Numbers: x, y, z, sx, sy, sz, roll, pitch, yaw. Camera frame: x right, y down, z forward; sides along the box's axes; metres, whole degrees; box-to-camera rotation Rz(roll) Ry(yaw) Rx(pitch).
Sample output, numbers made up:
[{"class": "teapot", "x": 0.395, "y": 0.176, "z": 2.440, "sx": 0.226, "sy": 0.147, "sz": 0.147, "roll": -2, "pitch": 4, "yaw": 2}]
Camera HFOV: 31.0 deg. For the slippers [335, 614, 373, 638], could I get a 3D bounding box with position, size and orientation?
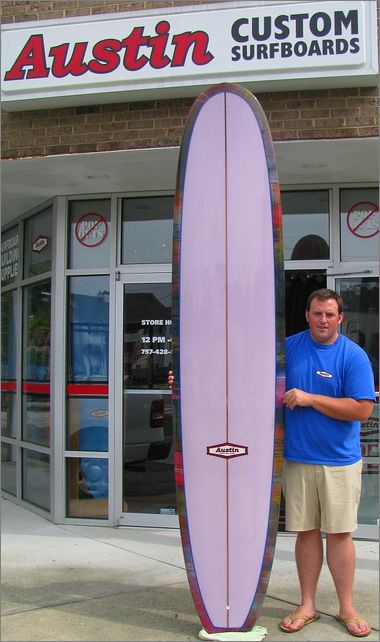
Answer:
[{"class": "slippers", "x": 0.730, "y": 1.385, "z": 3.118, "sx": 0.178, "sy": 0.062, "sz": 0.111, "roll": -4, "pitch": -3, "yaw": 34}]
